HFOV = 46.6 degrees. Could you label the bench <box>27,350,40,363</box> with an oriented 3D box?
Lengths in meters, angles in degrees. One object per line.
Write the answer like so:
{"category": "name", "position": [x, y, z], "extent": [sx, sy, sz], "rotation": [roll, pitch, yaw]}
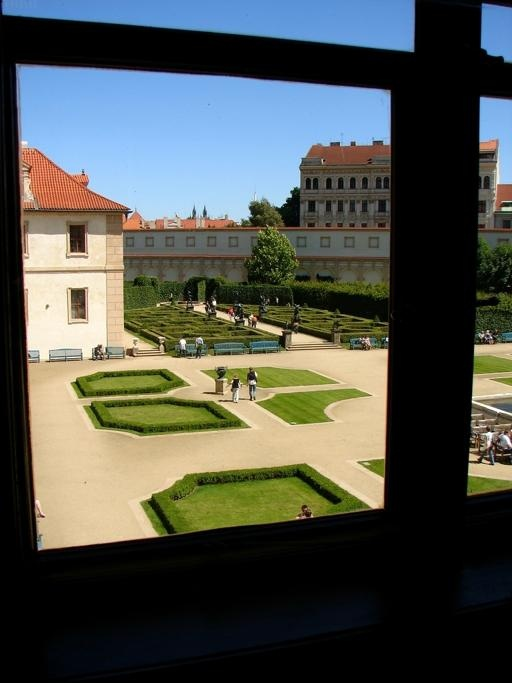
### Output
{"category": "bench", "position": [-7.869, 0.513, 21.045], "extent": [0.353, 0.381, 0.873], "rotation": [-1, 7, -18]}

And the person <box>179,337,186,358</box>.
{"category": "person", "position": [-2.915, 0.215, 23.447], "extent": [0.324, 0.686, 0.877], "rotation": [1, 6, -4]}

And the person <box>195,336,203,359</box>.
{"category": "person", "position": [-2.216, 0.207, 23.260], "extent": [0.288, 0.788, 0.601], "rotation": [0, 6, -5]}

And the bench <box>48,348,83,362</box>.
{"category": "bench", "position": [-6.783, 0.467, 21.146], "extent": [1.135, 0.423, 0.381], "rotation": [0, 7, -13]}

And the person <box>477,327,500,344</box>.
{"category": "person", "position": [7.714, -0.229, 19.766], "extent": [0.574, 0.538, 0.827], "rotation": [-1, 1, -4]}
